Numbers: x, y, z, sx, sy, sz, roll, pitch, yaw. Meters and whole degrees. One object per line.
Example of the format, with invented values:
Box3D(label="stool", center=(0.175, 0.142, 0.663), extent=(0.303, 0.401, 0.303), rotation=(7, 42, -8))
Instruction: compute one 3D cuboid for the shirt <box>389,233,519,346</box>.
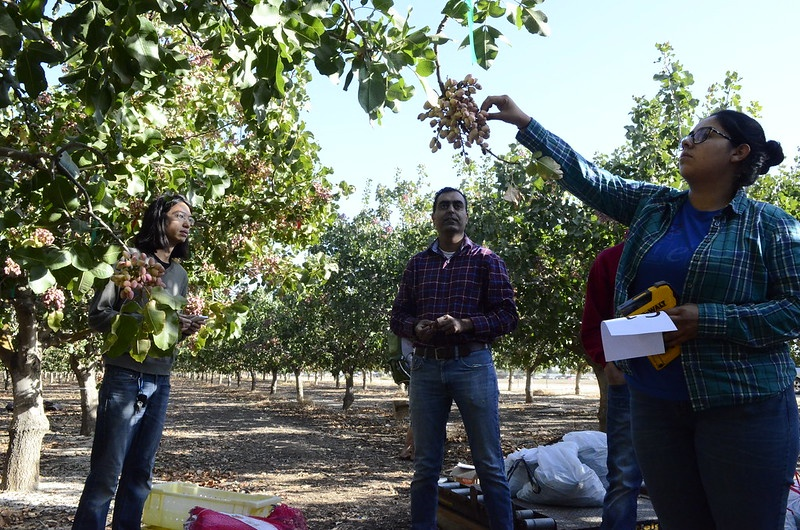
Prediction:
Box3D(label="shirt", center=(0.447, 0.235, 5.500), extent=(1.214, 0.883, 0.664), rotation=(-4, -6, 32))

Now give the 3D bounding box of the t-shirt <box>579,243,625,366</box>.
Box3D(label="t-shirt", center=(1.667, 0.306, 5.358), extent=(0.255, 1.000, 0.582), rotation=(13, 4, -2))
